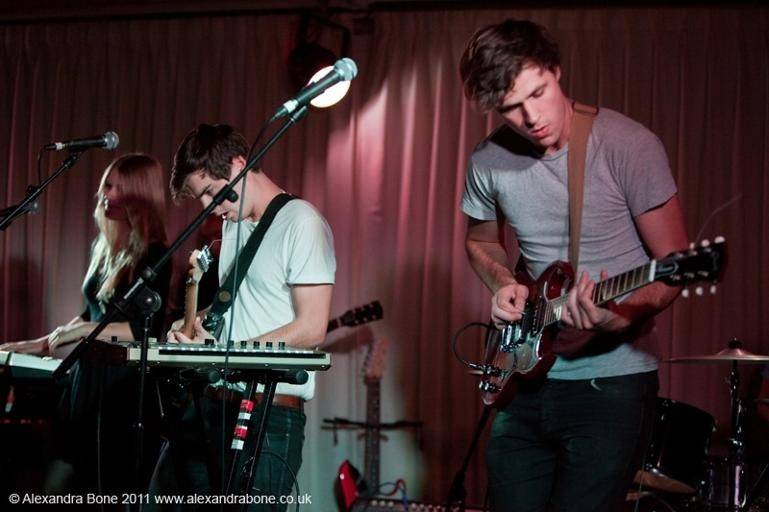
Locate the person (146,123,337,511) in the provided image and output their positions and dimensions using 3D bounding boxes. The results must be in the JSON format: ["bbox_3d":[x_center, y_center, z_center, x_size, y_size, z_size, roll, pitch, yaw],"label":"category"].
[{"bbox_3d":[-0.778,0.309,3.558,0.988,2.177,0.501,0,-7,23],"label":"person"}]

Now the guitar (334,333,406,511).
[{"bbox_3d":[-0.178,1.397,5.735,0.712,1.564,0.266,3,-6,-3],"label":"guitar"}]

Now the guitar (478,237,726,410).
[{"bbox_3d":[0.974,0.406,3.190,0.197,0.636,1.427,20,-30,-17],"label":"guitar"}]

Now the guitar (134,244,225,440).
[{"bbox_3d":[-1.141,0.345,3.564,0.450,1.221,0.147,-1,-13,42],"label":"guitar"}]
